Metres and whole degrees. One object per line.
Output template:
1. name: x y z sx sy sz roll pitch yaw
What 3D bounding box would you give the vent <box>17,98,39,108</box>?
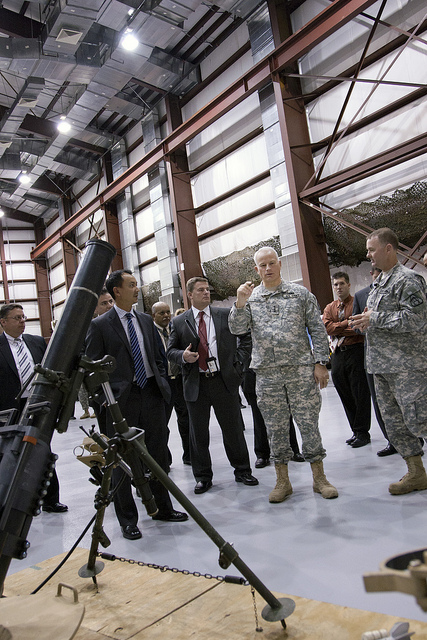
1. vent: -4.319 -5.058 11.051 0.354 0.067 0.440 -7 -3 -40

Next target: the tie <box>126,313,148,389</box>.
1. tie: -0.443 0.170 2.833 0.077 0.478 0.068 -16 -14 0

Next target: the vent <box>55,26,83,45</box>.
1. vent: -2.635 -5.240 8.736 0.408 0.084 0.463 -7 -2 -35

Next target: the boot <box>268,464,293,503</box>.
1. boot: 0.389 0.963 2.817 0.092 0.211 0.190 -10 -2 30

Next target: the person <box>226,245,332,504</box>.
1. person: 0.425 0.310 2.813 0.562 1.469 0.422 -9 -2 2

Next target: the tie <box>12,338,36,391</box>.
1. tie: -1.384 0.324 3.463 0.124 0.472 0.060 -24 34 -34

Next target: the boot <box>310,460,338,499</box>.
1. boot: 0.631 0.914 2.747 0.103 0.216 0.232 -9 -2 -4
